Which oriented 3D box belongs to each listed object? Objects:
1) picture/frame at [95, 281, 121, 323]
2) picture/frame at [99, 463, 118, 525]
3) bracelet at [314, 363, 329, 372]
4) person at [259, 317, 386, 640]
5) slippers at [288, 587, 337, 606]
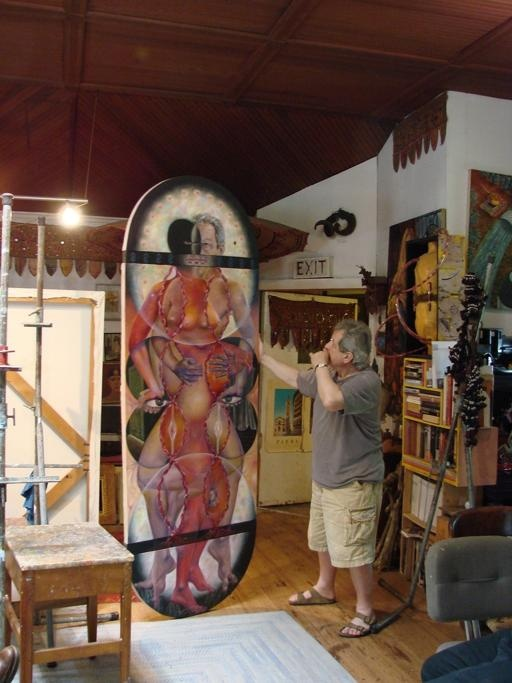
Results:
[{"bbox_3d":[-1.345,-0.364,6.058,0.215,0.284,0.101,2,1,-13],"label":"picture/frame"},{"bbox_3d":[-1.211,1.269,5.526,0.161,0.392,0.136,2,1,-16],"label":"picture/frame"},{"bbox_3d":[0.347,0.134,3.541,0.062,0.052,0.053,7,-7,-2],"label":"bracelet"},{"bbox_3d":[0.461,0.724,3.756,0.548,1.568,0.633,2,1,-25],"label":"person"},{"bbox_3d":[0.333,1.530,4.013,0.289,0.088,0.097,3,-4,-5],"label":"slippers"}]
